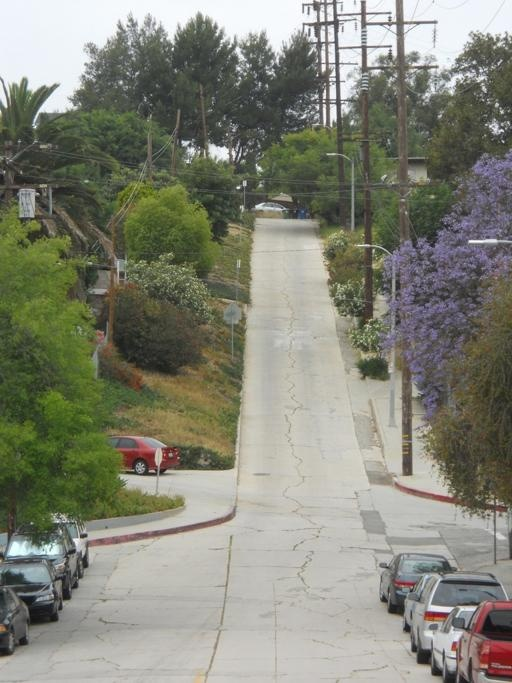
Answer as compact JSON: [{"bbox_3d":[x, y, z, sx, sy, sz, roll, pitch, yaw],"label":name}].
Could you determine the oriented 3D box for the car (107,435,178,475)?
[{"bbox_3d":[-3.597,3.665,51.980,2.381,0.909,1.081,9,3,27],"label":"car"}]
